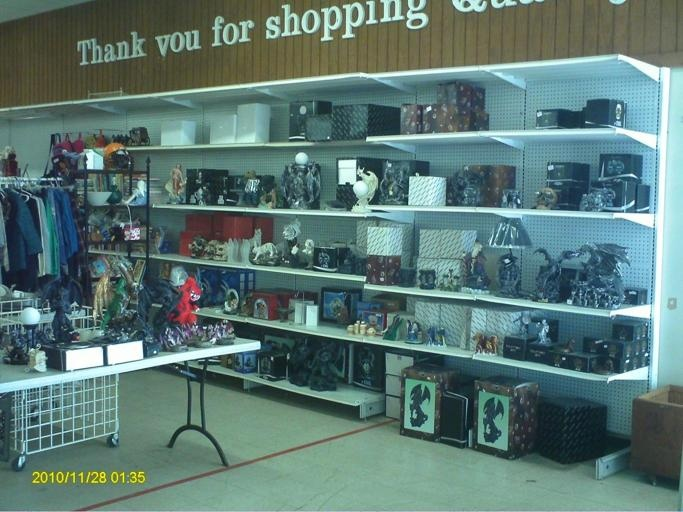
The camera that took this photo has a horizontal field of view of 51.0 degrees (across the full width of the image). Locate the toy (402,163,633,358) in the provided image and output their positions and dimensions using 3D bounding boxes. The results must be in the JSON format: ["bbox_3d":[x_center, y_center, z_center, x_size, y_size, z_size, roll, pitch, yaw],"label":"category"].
[{"bbox_3d":[1.727,0.064,6.762,1.694,1.067,0.622,9,11,40],"label":"toy"}]

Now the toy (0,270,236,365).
[{"bbox_3d":[-1.789,0.578,5.720,0.991,0.443,1.067,4,5,45],"label":"toy"}]
